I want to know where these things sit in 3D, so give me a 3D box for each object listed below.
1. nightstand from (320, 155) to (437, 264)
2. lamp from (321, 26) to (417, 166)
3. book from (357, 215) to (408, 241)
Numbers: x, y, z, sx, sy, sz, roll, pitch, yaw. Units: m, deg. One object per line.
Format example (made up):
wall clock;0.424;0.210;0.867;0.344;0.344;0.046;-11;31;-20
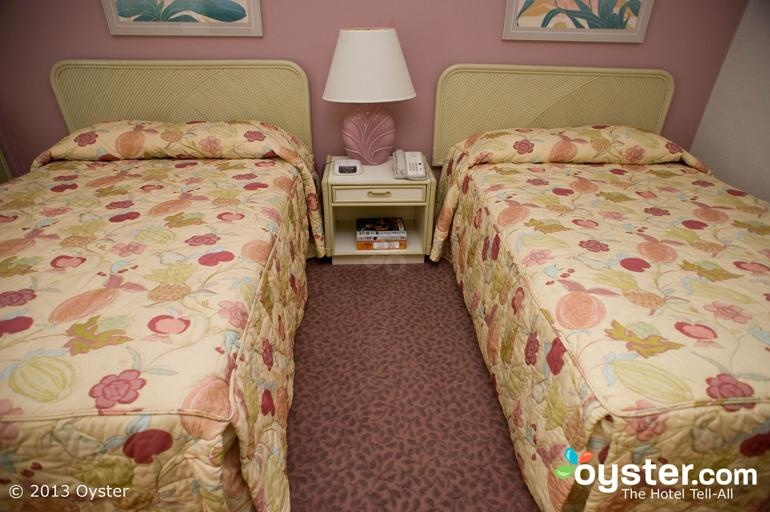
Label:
nightstand;-0.035;-0.242;3.251;0.931;0.726;0.669;-2;39;0
lamp;-0.087;-0.928;2.826;0.521;0.779;0.312;0;42;1
book;-0.021;-0.166;3.011;0.209;0.048;0.212;2;25;3
